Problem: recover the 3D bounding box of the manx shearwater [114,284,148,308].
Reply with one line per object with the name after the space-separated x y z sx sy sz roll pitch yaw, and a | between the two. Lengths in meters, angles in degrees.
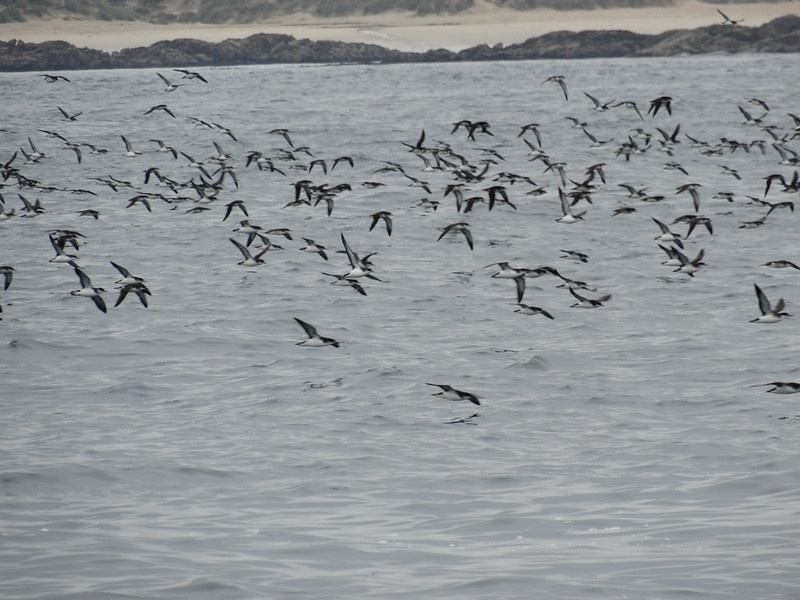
-9.436 -0.113 48.240 1.062 1.051 0.293 15 94 -2 | manx shearwater
